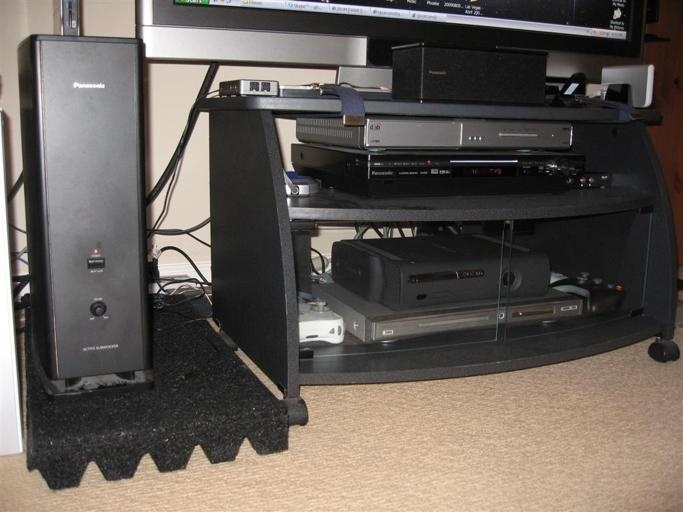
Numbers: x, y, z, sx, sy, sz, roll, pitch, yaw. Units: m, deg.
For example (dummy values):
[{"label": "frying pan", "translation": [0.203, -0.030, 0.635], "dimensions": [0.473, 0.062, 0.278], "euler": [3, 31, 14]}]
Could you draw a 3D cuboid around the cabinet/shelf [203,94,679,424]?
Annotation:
[{"label": "cabinet/shelf", "translation": [0.281, -0.070, 1.529], "dimensions": [1.179, 0.714, 0.577], "euler": [-8, 22, -19]}]

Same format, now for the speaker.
[{"label": "speaker", "translation": [-0.503, -0.078, 1.158], "dimensions": [0.306, 0.662, 0.232], "euler": [-8, 22, -17]}]
